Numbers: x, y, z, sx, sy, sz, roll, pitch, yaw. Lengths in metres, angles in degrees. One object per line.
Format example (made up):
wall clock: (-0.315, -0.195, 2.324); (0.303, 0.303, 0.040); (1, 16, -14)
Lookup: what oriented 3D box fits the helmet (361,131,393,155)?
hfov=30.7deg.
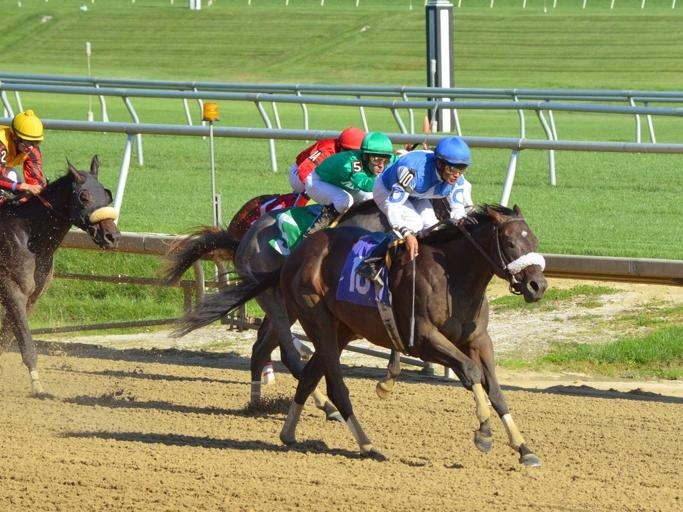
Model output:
helmet: (0.263, -0.851, 9.412); (0.213, 0.122, 0.159); (4, 12, -8)

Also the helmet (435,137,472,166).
helmet: (0.756, -0.726, 8.579); (0.191, 0.119, 0.231); (-5, 27, -38)

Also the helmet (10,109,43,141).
helmet: (-2.569, -1.055, 10.115); (0.221, 0.180, 0.275); (-9, 42, -48)

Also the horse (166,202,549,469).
horse: (0.071, 0.584, 9.017); (3.188, 1.739, 0.725); (1, -3, 35)
